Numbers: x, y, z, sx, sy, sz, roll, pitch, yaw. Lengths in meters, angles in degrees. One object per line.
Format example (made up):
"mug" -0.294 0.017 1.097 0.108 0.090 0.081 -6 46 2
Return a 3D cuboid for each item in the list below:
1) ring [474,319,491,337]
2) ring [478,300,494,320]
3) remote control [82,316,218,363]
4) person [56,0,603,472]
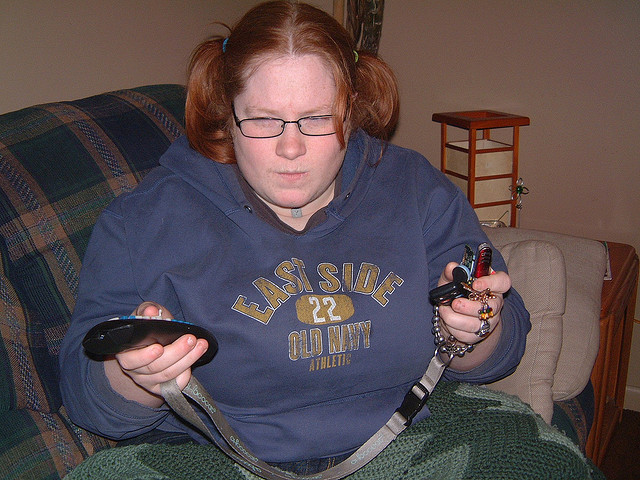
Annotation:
"ring" 0.363 0.193 1.168 0.017 0.031 0.040 26 6 -28
"ring" 0.360 0.149 1.131 0.043 0.043 0.019 -10 20 -22
"remote control" -0.309 0.212 0.974 0.194 0.046 0.103 18 -37 -41
"person" -0.054 -0.011 1.239 1.177 1.036 0.645 -3 19 -4
